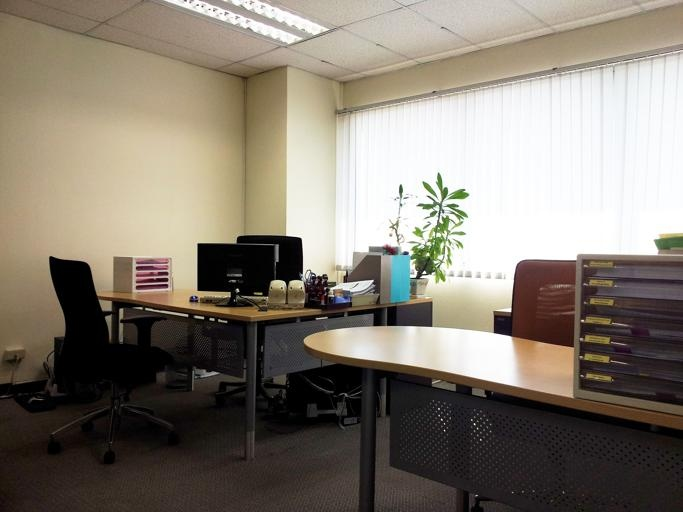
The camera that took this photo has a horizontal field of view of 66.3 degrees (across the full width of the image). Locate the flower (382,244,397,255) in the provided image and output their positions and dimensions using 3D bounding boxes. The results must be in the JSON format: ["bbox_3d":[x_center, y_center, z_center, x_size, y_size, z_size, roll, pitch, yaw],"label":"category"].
[{"bbox_3d":[0.397,-0.036,4.390,0.128,0.093,0.070,-1,-4,42],"label":"flower"}]

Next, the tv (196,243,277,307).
[{"bbox_3d":[-0.744,0.127,3.699,0.416,0.299,0.122,1,3,13],"label":"tv"}]

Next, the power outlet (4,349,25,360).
[{"bbox_3d":[-2.777,0.824,4.406,0.093,0.116,0.162,1,0,31],"label":"power outlet"}]

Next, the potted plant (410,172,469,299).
[{"bbox_3d":[0.924,-0.253,4.896,0.547,1.084,0.977,2,5,8],"label":"potted plant"}]

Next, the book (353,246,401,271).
[{"bbox_3d":[0.276,0.001,4.324,0.371,0.176,0.714,3,6,13],"label":"book"}]
